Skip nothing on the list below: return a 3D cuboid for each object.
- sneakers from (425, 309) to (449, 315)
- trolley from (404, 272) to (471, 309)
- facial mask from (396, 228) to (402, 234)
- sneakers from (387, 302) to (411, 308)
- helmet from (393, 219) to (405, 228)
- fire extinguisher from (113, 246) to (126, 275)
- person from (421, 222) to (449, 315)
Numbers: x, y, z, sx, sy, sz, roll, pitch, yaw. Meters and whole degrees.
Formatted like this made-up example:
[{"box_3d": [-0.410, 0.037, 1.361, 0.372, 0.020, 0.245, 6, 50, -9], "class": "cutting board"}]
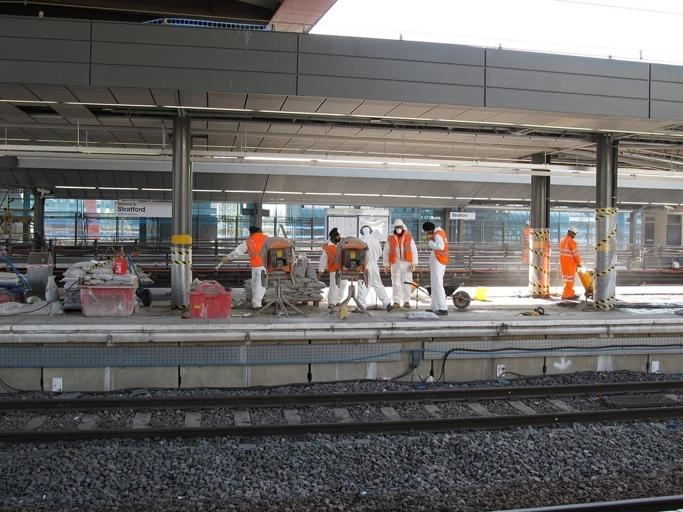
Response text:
[{"box_3d": [2.081, 1.233, 16.749, 0.498, 0.196, 0.160, 3, -1, 4], "class": "sneakers"}, {"box_3d": [2.364, 0.885, 18.015, 1.357, 0.654, 0.604, -1, 6, 32], "class": "trolley"}, {"box_3d": [1.350, -0.579, 17.896, 0.137, 0.152, 0.058, 2, 4, 18], "class": "facial mask"}, {"box_3d": [1.375, 1.190, 18.076, 0.503, 0.183, 0.150, -3, -3, 14], "class": "sneakers"}, {"box_3d": [1.352, -0.752, 17.894, 0.212, 0.143, 0.287, 1, -5, 3], "class": "helmet"}, {"box_3d": [-5.238, 0.121, 18.161, 0.260, 0.246, 0.635, 3, -36, -18], "class": "fire extinguisher"}, {"box_3d": [2.094, 0.283, 16.995, 0.618, 2.168, 1.402, 3, 15, 7], "class": "person"}]
